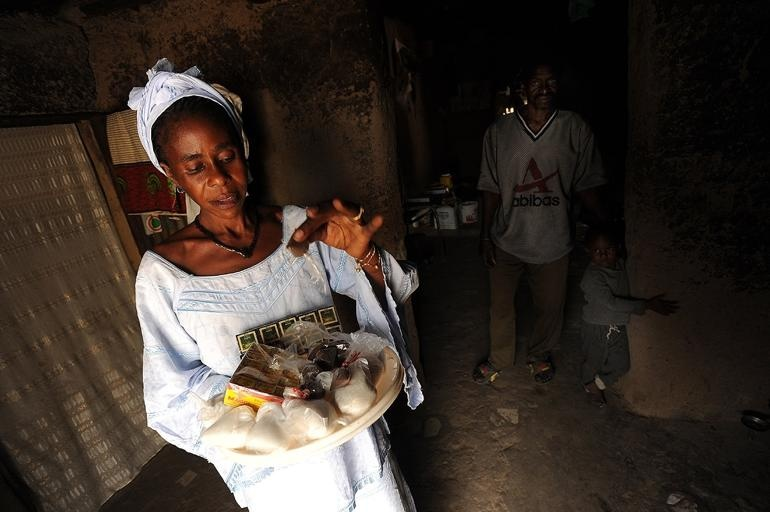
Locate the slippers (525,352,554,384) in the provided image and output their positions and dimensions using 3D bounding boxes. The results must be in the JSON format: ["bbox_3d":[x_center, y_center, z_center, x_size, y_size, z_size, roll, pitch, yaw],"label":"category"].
[{"bbox_3d":[1.402,0.990,4.243,0.161,0.287,0.082,-23,-30,34],"label":"slippers"}]

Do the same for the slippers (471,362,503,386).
[{"bbox_3d":[0.902,1.069,4.273,0.146,0.166,0.256,6,-5,30],"label":"slippers"}]

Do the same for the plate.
[{"bbox_3d":[-0.192,0.555,1.972,0.490,0.096,0.488,-5,9,46],"label":"plate"}]

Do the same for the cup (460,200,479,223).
[{"bbox_3d":[1.015,-0.540,5.972,0.268,0.274,0.259,-4,5,0],"label":"cup"}]

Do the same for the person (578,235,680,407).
[{"bbox_3d":[1.806,0.502,3.627,0.568,1.423,0.207,2,18,23],"label":"person"}]

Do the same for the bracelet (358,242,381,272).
[{"bbox_3d":[-0.084,0.009,2.359,0.107,0.123,0.062,-6,-5,-3],"label":"bracelet"}]
